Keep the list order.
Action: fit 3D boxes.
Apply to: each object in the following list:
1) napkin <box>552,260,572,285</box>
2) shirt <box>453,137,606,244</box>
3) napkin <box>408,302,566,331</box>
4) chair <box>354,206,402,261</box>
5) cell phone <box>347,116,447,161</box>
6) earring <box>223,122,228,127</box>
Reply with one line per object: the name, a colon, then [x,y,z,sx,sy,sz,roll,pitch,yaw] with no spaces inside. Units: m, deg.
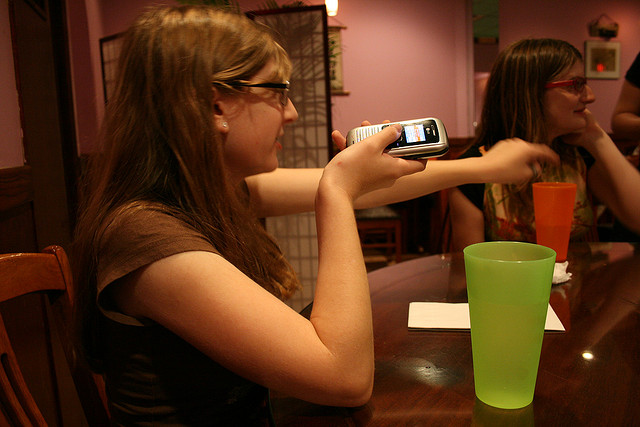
napkin: [0.714,0.170,1.529,0.042,0.054,0.125,5,14,33]
shirt: [0.756,-0.084,1.922,0.451,0.414,0.243,0,4,10]
napkin: [0.417,0.263,1.341,0.377,0.031,0.128,-1,12,8]
chair: [0.533,0.086,4.394,0.421,0.439,0.693,-4,12,-3]
cell phone: [0.206,-0.199,1.435,0.248,0.122,0.058,-5,-23,1]
earring: [-0.232,-0.218,1.269,0.008,0.008,0.003,-14,0,-32]
